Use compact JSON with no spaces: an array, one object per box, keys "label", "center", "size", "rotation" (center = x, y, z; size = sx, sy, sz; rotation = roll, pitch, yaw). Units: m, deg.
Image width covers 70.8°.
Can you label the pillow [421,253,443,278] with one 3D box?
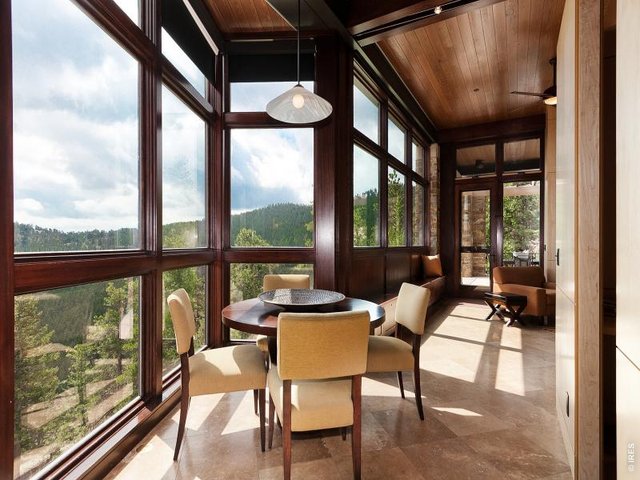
[{"label":"pillow","center":[1.962,0.486,7.815],"size":[0.457,0.369,0.433],"rotation":[-2,11,-11]}]

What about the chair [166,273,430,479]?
[{"label":"chair","center":[-0.423,0.923,3.326],"size":[1.345,0.889,1.407],"rotation":[0,0,-23]}]

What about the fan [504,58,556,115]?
[{"label":"fan","center":[2.909,-2.073,6.050],"size":[0.493,0.555,1.604],"rotation":[5,12,23]}]

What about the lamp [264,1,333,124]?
[{"label":"lamp","center":[-0.196,-1.754,4.337],"size":[0.717,1.266,0.737],"rotation":[-9,20,-30]}]

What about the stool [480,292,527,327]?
[{"label":"stool","center":[2.540,1.075,6.247],"size":[0.329,0.463,0.637],"rotation":[2,-8,0]}]
